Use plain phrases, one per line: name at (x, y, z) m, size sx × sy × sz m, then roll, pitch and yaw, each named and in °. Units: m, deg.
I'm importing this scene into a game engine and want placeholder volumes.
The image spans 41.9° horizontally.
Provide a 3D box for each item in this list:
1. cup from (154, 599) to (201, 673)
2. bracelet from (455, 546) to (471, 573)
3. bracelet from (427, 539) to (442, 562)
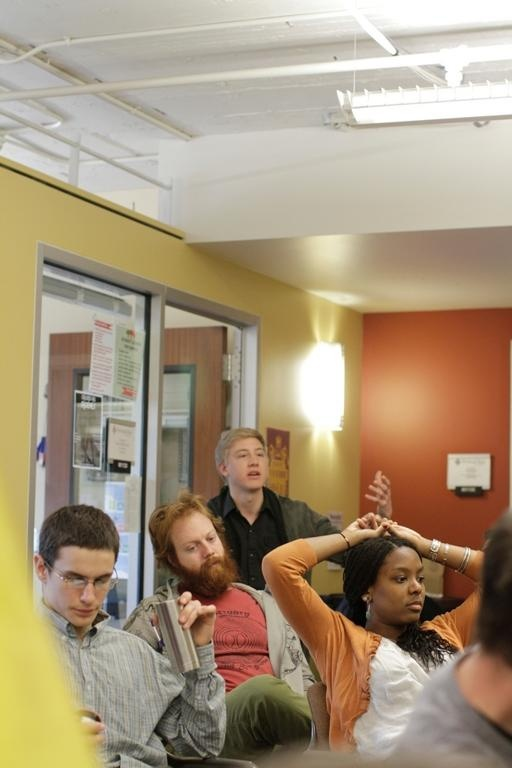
cup at (-0.197, 0.628, 1.667) m, size 0.113 × 0.172 × 0.070 m, roll 2°, pitch -3°, yaw -9°
bracelet at (0.628, 0.535, 2.022) m, size 0.025 × 0.069 × 0.058 m, roll 10°, pitch -16°, yaw 0°
bracelet at (0.525, 0.492, 1.969) m, size 0.042 × 0.066 × 0.063 m, roll 3°, pitch 0°, yaw 15°
